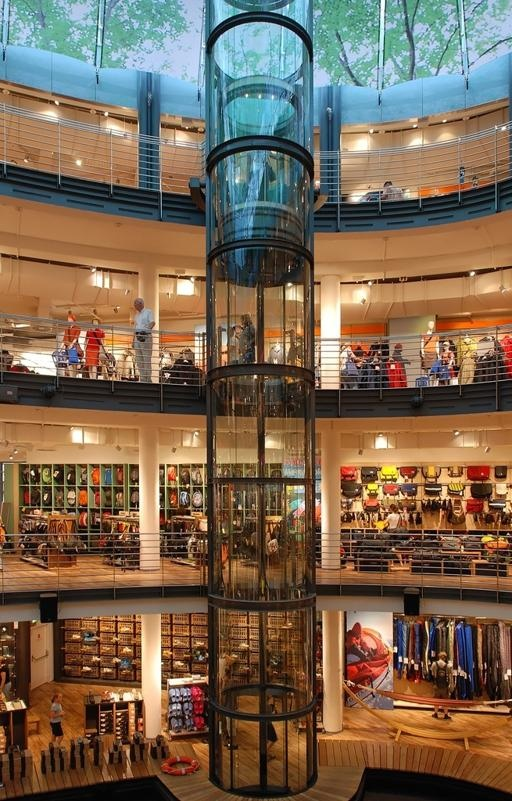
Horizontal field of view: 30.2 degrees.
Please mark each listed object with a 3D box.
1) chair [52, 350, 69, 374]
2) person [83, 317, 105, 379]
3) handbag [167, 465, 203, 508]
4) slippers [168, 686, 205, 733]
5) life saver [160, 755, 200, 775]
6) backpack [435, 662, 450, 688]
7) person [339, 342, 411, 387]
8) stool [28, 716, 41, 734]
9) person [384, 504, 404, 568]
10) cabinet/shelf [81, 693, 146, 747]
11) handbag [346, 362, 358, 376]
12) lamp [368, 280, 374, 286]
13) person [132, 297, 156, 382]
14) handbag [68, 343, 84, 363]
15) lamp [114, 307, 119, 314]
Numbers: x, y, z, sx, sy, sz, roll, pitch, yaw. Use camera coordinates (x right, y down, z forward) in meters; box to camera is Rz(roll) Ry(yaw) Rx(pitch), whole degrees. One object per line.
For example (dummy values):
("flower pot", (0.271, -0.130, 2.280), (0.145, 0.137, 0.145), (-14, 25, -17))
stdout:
("chair", (-2.659, -0.515, 12.845), (0.139, 0.336, 0.417), (0, 3, -8))
("person", (-2.338, -0.713, 13.617), (0.249, 0.980, 0.253), (0, -21, -4))
("handbag", (-1.379, 1.727, 18.683), (0.676, 0.781, 0.234), (-3, -7, 27))
("slippers", (-1.084, 4.898, 14.951), (0.444, 0.204, 0.666), (4, 38, -11))
("life saver", (-0.939, 4.540, 11.639), (0.461, 0.097, 0.637), (-2, -3, -8))
("backpack", (2.984, 4.411, 15.222), (0.230, 0.451, 0.151), (-3, -3, 10))
("person", (1.796, -0.470, 14.579), (0.810, 0.611, 0.896), (-1, 1, 8))
("stool", (-3.529, 5.139, 15.019), (0.220, 0.253, 0.229), (0, -1, -25))
("person", (2.258, 2.252, 15.438), (0.332, 0.385, 1.180), (-12, 40, 13))
("cabinet/shelf", (-2.097, 4.793, 14.091), (0.676, 0.741, 0.374), (-1, -8, 3))
("handbag", (1.452, -0.476, 14.434), (0.190, 0.257, 0.360), (-2, -3, 5))
("lamp", (2.053, -2.089, 16.941), (0.052, 0.060, 0.097), (17, 1, -3))
("person", (-1.614, -0.858, 13.665), (0.291, 1.274, 1.169), (-2, -3, -7))
("handbag", (-2.576, -0.660, 13.419), (0.208, 0.430, 0.104), (-2, 3, 13))
("lamp", (-2.693, -1.720, 18.241), (0.090, 0.028, 0.064), (-13, -18, 15))
